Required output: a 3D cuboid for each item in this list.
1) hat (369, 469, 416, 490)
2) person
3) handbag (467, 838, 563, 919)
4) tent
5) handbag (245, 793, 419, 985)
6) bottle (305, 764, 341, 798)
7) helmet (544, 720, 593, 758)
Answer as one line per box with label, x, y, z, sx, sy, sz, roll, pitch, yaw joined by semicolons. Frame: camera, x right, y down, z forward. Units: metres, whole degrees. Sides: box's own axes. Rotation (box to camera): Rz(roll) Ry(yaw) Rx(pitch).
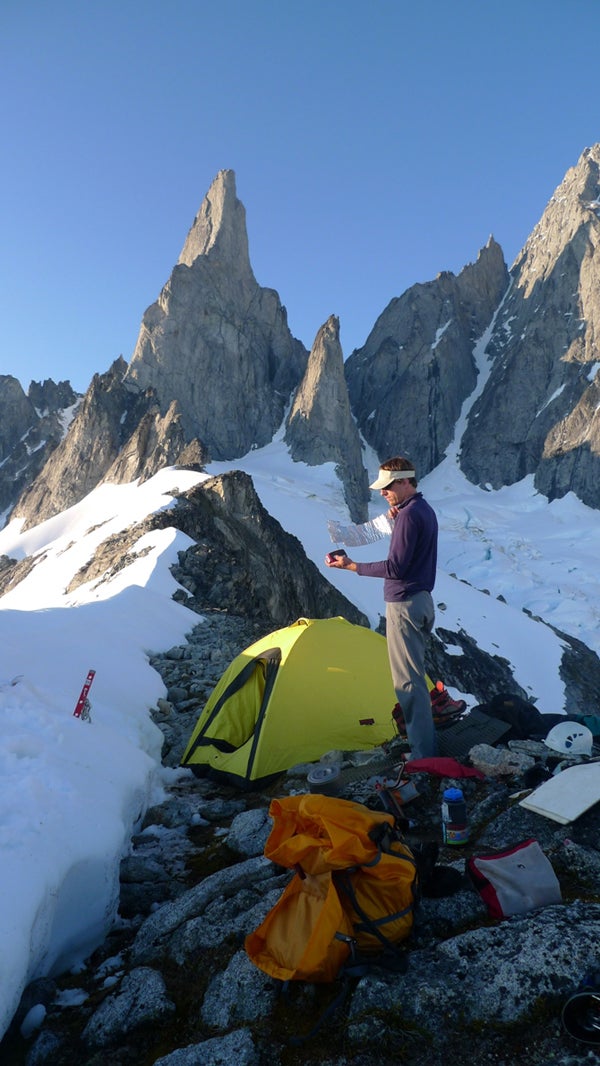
hat;0.777;-0.468;6.742;0.298;0.114;0.208;-17;-3;-21
person;0.895;0.600;6.683;0.855;2.309;0.724;-13;3;-31
handbag;1.072;1.777;3.995;0.400;0.298;0.419;-14;2;3
tent;0.008;1.670;8.259;1.259;1.192;1.872;-11;-17;43
handbag;0.118;1.792;4.185;0.842;0.852;0.604;-11;-6;-33
bottle;0.199;2.011;6.511;0.277;0.229;0.289;2;0;0
helmet;1.848;1.431;5.489;0.300;0.211;0.204;11;-4;-27
